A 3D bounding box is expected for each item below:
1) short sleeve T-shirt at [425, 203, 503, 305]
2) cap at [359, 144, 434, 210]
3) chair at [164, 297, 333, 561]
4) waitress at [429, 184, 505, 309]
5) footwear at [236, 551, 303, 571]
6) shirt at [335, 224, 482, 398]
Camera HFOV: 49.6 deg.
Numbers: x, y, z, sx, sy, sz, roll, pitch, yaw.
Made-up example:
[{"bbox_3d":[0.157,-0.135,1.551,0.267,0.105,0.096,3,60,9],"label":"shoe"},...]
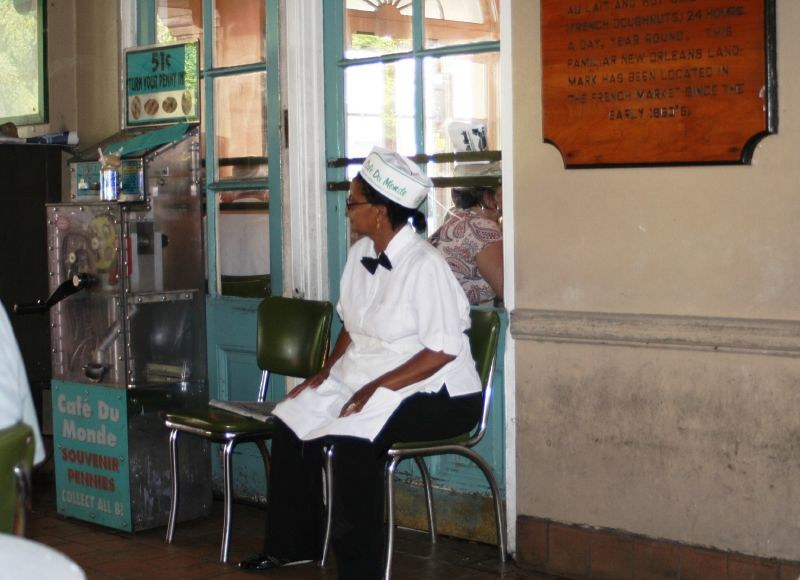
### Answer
[{"bbox_3d":[0.289,-0.148,3.747,0.207,0.398,0.382,-9,11,-34],"label":"short sleeve T-shirt"},{"bbox_3d":[-0.020,-0.467,3.545,0.333,0.158,0.285,14,12,-16],"label":"cap"},{"bbox_3d":[-0.664,0.581,3.867,0.539,1.043,0.647,4,4,44],"label":"chair"},{"bbox_3d":[0.302,-0.184,3.761,0.455,0.426,0.251,9,16,43],"label":"waitress"},{"bbox_3d":[-0.561,1.138,3.644,0.292,0.113,0.102,6,-6,-12],"label":"footwear"},{"bbox_3d":[-0.030,0.089,3.573,0.624,0.644,0.445,9,11,36],"label":"shirt"}]
